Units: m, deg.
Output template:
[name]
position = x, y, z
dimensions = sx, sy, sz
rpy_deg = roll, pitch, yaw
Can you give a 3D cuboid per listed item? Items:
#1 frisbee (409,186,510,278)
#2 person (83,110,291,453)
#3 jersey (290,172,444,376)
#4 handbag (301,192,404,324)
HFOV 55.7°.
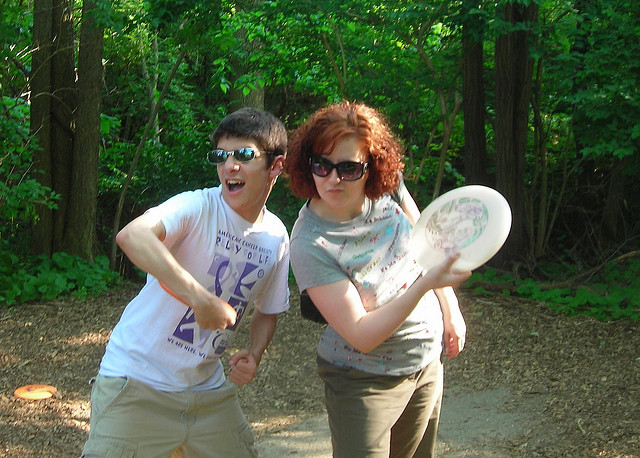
[frisbee]
position = 0.911, 0.027, 3.976
dimensions = 0.579, 0.617, 0.144
rpy_deg = -5, -37, 43
[person]
position = -0.814, 0.382, 4.122
dimensions = 1.370, 2.496, 0.552
rpy_deg = 2, 3, -23
[jersey]
position = 0.326, 0.274, 4.331
dimensions = 0.758, 1.317, 1.321
rpy_deg = 11, 33, 36
[handbag]
position = 0.202, 0.221, 4.018
dimensions = 0.549, 0.748, 0.404
rpy_deg = -17, -24, -30
